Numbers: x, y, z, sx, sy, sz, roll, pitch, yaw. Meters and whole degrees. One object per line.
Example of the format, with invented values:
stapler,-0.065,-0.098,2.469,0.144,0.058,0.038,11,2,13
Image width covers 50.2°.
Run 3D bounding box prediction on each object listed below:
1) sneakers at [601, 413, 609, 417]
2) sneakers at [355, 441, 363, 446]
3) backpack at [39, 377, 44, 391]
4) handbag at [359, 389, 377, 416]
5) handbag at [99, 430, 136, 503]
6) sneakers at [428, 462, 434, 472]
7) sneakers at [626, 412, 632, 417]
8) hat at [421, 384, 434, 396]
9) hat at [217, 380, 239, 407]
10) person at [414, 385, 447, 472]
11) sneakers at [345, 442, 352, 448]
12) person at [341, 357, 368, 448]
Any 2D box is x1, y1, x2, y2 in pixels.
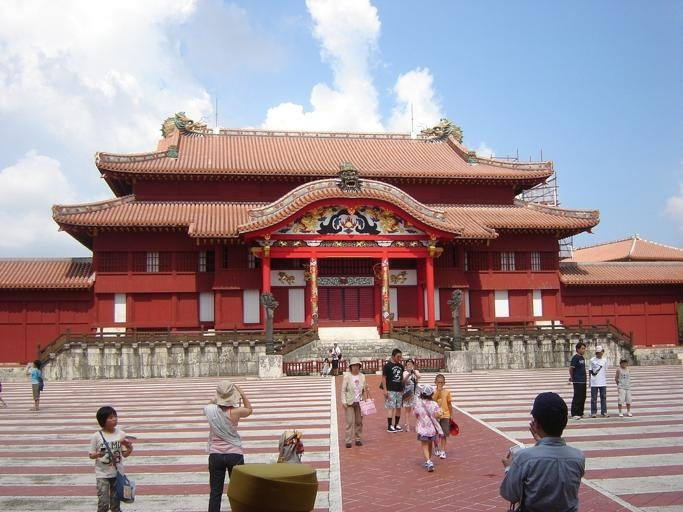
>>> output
sneakers,7.304,4.417,20.223,0.221,0.093,0.074,-5,-8,15
sneakers,0.441,4.438,17.351,0.166,0.123,0.255,-3,-11,7
backpack,-9.844,4.203,23.989,0.085,0.328,0.198,2,-12,-17
handbag,0.634,3.521,17.490,0.337,0.564,0.533,-2,-11,4
handbag,-4.028,3.772,13.110,0.643,1.243,0.265,3,-12,-21
sneakers,1.915,4.424,15.395,0.108,0.214,0.337,-6,-12,21
sneakers,7.991,4.376,20.199,0.114,0.110,0.312,-5,-12,19
hat,1.915,2.963,16.083,0.268,0.271,0.337,5,-22,-18
hat,-2.072,2.526,13.334,0.368,0.242,0.466,4,13,-16
person,1.874,3.701,15.697,0.433,1.749,0.549,-10,-14,37
sneakers,0.190,4.443,17.149,0.146,0.108,0.133,0,-11,-6
person,0.361,3.549,17.677,0.594,2.055,1.020,-1,-11,1
